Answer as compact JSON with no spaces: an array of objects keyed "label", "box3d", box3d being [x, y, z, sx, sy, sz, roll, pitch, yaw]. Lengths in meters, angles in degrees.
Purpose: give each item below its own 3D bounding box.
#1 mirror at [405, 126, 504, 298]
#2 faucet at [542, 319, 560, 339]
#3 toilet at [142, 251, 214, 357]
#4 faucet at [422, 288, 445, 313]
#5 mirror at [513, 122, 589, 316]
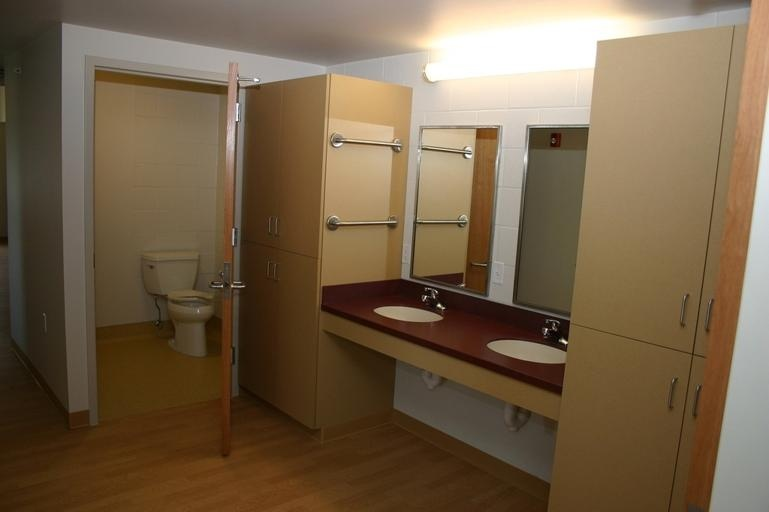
[{"label":"mirror","box3d":[0.504,-0.356,3.925,0.749,1.142,0.128,15,18,42]},{"label":"faucet","box3d":[1.030,0.451,3.367,0.117,0.117,0.089,3,-1,-23]},{"label":"toilet","box3d":[-1.976,0.441,5.395,0.893,0.868,0.500,14,12,41]},{"label":"faucet","box3d":[0.345,0.324,3.964,0.116,0.123,0.185,0,5,-21]},{"label":"mirror","box3d":[1.153,-0.236,3.477,0.602,1.212,0.041,3,28,7]}]
